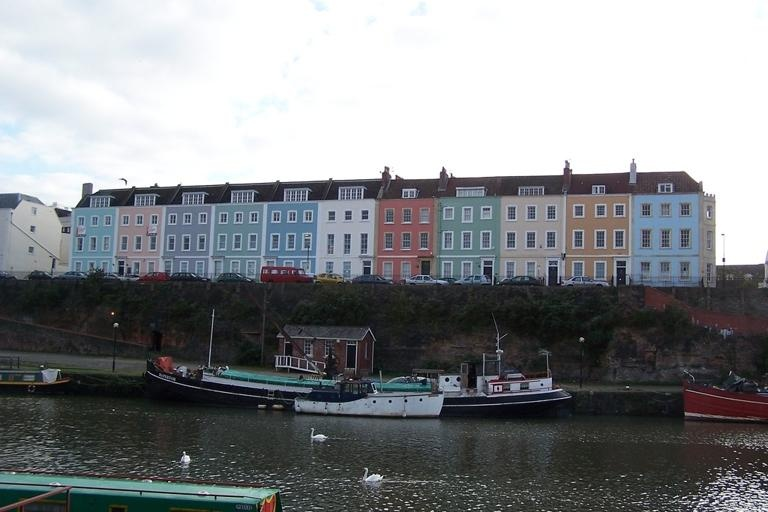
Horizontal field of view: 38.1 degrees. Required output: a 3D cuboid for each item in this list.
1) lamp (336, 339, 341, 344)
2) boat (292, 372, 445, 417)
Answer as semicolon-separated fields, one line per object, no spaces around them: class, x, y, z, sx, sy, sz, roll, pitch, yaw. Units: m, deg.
lamp;-3.954;7.330;95.657;0.427;0.370;0.220;1;5;7
boat;-0.883;11.480;87.496;13.472;2.846;3.823;-1;-1;7
